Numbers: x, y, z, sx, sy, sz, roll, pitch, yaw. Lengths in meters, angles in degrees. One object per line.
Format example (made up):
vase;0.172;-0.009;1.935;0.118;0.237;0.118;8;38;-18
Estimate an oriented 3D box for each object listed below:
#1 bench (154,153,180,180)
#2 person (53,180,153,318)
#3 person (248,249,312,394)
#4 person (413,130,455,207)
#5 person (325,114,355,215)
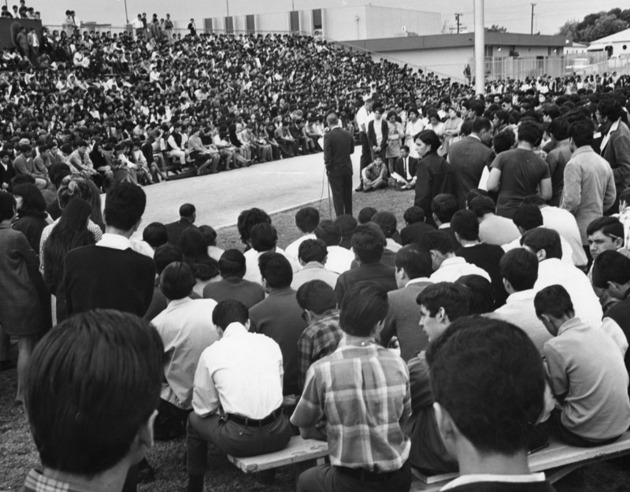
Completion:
bench;-3.899;-2.092;17.408;0.479;0.771;0.332;-13;-4;-32
person;-1.483;0.072;4.706;0.672;0.925;0.490;-9;16;-22
person;-0.289;0.612;5.131;0.438;1.310;0.409;-18;35;-26
person;1.551;-0.783;8.704;0.507;1.391;0.440;-18;37;-17
person;0.394;-1.320;11.039;0.591;1.729;0.378;-9;16;-23
